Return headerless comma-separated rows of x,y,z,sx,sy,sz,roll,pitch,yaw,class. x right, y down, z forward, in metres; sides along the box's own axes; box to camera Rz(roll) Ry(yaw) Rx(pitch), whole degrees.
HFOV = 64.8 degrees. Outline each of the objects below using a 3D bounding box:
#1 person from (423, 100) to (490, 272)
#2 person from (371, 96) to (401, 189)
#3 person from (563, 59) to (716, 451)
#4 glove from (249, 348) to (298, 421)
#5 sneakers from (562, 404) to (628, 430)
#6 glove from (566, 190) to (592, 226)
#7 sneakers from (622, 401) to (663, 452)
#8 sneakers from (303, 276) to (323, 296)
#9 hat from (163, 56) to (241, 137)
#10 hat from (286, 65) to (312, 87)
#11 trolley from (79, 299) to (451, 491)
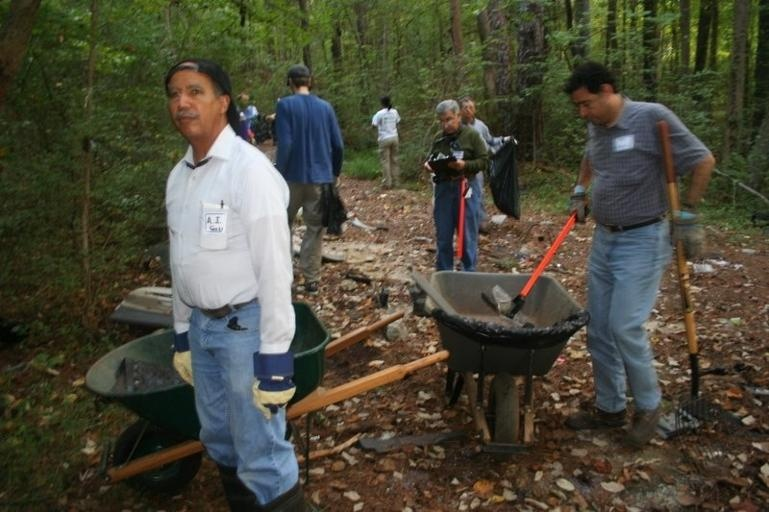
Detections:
0.907,-0.883,7.725,0.772,2.133,0.682,3,17,23,person
0.069,-2.558,13.776,0.548,2.047,0.865,-3,16,1,person
2.306,-0.028,5.675,1.170,3.469,0.897,5,18,27,person
-0.828,0.975,4.522,0.322,0.567,0.225,-8,16,-15,glove
2.088,1.623,6.091,0.664,0.288,0.233,1,7,6,sneakers
2.055,-0.499,6.303,0.161,0.361,0.253,15,-12,-37,glove
2.439,1.627,5.744,0.246,0.564,0.203,3,40,-15,sneakers
-0.973,0.422,8.251,0.191,0.232,0.219,2,2,-17,sneakers
-1.371,-1.188,4.719,0.514,0.649,0.332,-8,12,-8,hat
-1.138,-2.401,8.044,0.245,0.192,0.323,-4,38,-7,hat
-1.054,1.364,5.754,3.175,1.511,1.399,-8,20,-14,trolley
